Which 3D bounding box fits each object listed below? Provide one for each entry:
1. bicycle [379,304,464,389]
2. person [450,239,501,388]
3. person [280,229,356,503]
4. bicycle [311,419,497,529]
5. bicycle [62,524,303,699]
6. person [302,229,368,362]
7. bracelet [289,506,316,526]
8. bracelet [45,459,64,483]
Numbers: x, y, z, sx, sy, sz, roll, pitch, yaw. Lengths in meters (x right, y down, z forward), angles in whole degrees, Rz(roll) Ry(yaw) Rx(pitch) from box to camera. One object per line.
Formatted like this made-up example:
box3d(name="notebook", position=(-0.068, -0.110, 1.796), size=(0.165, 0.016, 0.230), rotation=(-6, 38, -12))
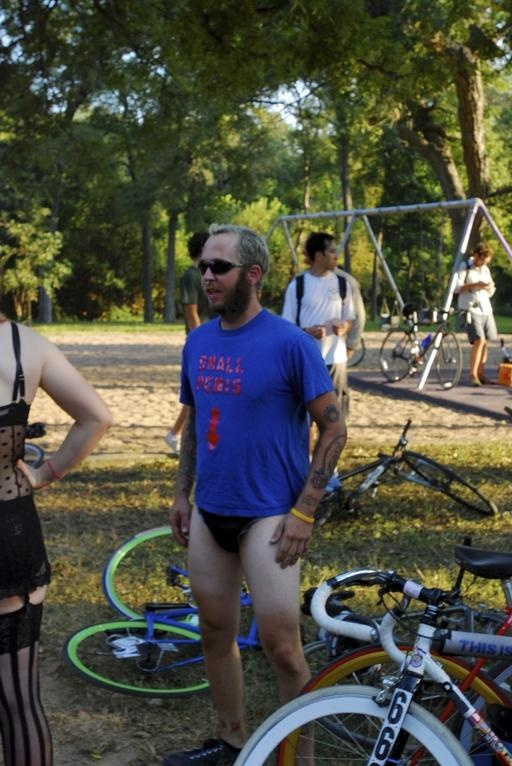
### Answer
box3d(name="bicycle", position=(2.609, -0.585, 13.699), size=(0.547, 1.272, 2.129), rotation=(5, 3, -31))
box3d(name="person", position=(3.119, -0.941, 12.517), size=(0.617, 2.031, 1.243), rotation=(8, 9, 14))
box3d(name="person", position=(0.476, -0.231, 6.683), size=(0.625, 1.758, 0.564), rotation=(-1, 20, -2))
box3d(name="bicycle", position=(1.034, 0.711, 6.380), size=(1.301, 0.617, 0.751), rotation=(-13, -28, 27))
box3d(name="bicycle", position=(-0.502, 1.139, 4.190), size=(0.758, 0.376, 1.254), rotation=(12, 11, -3))
box3d(name="person", position=(0.520, -0.559, 6.871), size=(0.621, 1.288, 0.417), rotation=(3, 26, 8))
box3d(name="bracelet", position=(0.142, 0.407, 2.682), size=(0.060, 0.019, 0.058), rotation=(25, -1, 9))
box3d(name="bracelet", position=(-0.566, 0.253, 2.467), size=(0.026, 0.063, 0.047), rotation=(-35, -18, 8))
